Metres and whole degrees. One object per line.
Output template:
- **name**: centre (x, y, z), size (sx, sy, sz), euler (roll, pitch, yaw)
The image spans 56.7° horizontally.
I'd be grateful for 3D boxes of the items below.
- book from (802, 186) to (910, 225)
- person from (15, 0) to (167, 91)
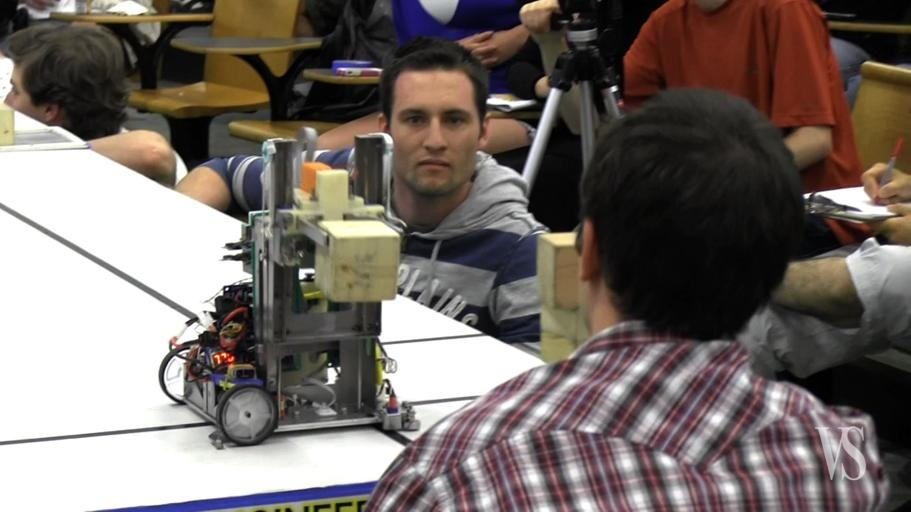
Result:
- **book**: centre (1.112, -0.136, 2.324), size (0.142, 0.032, 0.138), euler (-12, 21, -35)
- **person**: centre (-2.322, -1.511, 5.661), size (0.822, 0.743, 0.791), euler (0, 24, -7)
